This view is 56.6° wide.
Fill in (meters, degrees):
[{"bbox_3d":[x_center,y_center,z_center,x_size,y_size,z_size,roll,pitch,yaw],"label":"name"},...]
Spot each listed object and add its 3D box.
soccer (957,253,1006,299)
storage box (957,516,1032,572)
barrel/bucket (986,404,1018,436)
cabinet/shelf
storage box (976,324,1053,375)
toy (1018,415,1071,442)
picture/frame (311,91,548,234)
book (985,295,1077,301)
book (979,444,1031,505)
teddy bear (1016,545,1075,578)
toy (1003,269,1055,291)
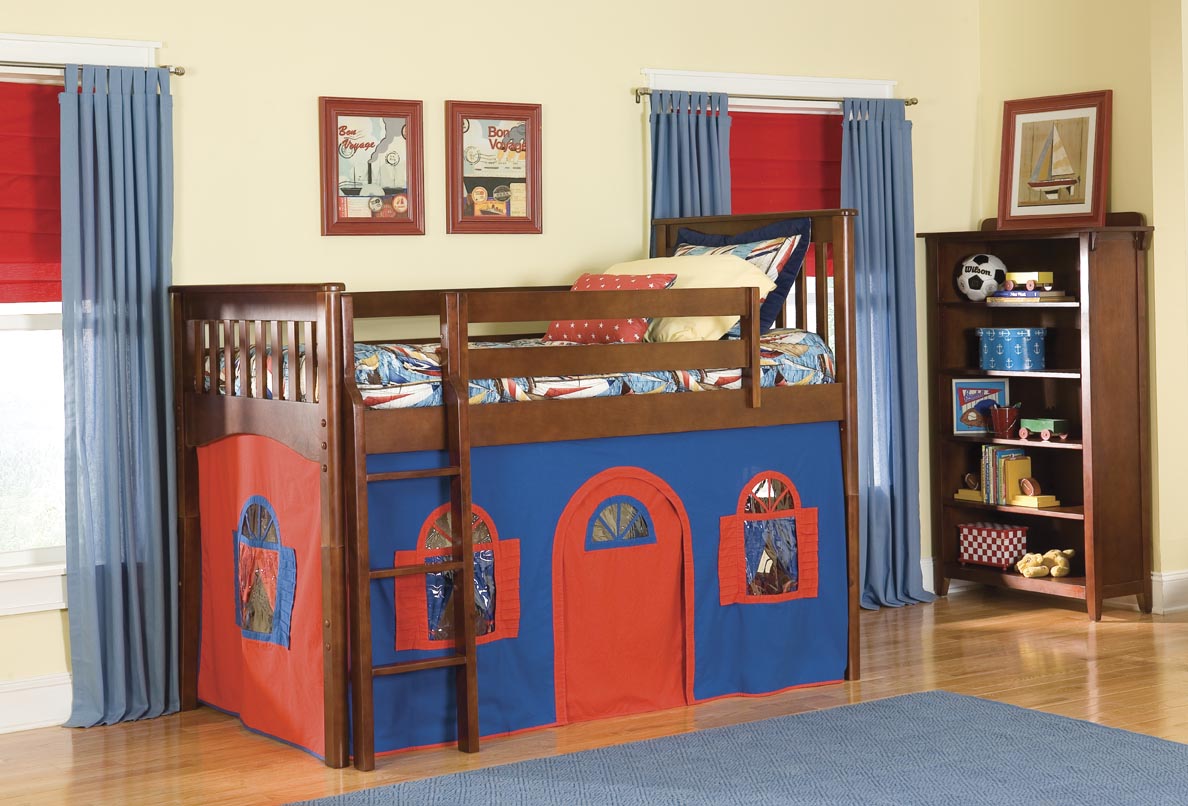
[{"bbox_3d":[1.960,-0.641,5.596,0.241,0.271,0.225,0,-9,5],"label":"soccer"},{"bbox_3d":[2.088,0.662,5.734,0.223,0.263,0.373,1,-1,-41],"label":"storage box"},{"bbox_3d":[2.071,0.084,5.612,0.155,0.159,0.120,4,8,39],"label":"barrel/bucket"},{"bbox_3d":[2.232,0.037,5.563,1.099,1.914,0.514,5,9,44],"label":"cabinet/shelf"},{"bbox_3d":[2.119,-0.268,5.577,0.248,0.155,0.242,0,-1,-23],"label":"storage box"},{"bbox_3d":[2.248,0.123,5.495,0.134,0.081,0.169,1,-1,-34],"label":"toy"},{"bbox_3d":[-0.776,-1.057,4.843,0.705,0.407,0.044,-1,3,-27],"label":"picture/frame"},{"bbox_3d":[2.150,-0.527,5.457,0.385,0.044,0.088,4,8,38],"label":"book"},{"bbox_3d":[2.089,0.357,5.588,0.320,0.300,0.190,-1,2,-30],"label":"book"},{"bbox_3d":[2.306,0.799,5.546,0.336,0.138,0.165,-3,7,-14],"label":"teddy bear"},{"bbox_3d":[2.177,-0.614,5.528,0.214,0.098,0.195,2,7,27],"label":"toy"}]
